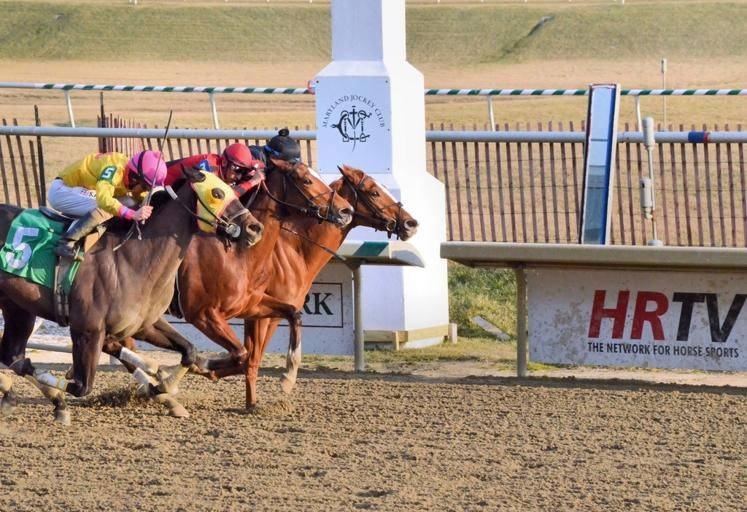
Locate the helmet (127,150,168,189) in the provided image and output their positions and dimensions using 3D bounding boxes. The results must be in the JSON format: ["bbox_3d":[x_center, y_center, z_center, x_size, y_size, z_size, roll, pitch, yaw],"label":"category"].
[{"bbox_3d":[-3.125,-1.194,24.422,0.505,0.537,0.427,-19,-18,38],"label":"helmet"}]

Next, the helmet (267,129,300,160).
[{"bbox_3d":[-1.302,-1.581,25.193,0.356,0.328,0.510,1,8,-19],"label":"helmet"}]

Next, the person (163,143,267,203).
[{"bbox_3d":[-2.215,-1.192,24.764,1.050,0.429,0.787,4,18,8],"label":"person"}]
